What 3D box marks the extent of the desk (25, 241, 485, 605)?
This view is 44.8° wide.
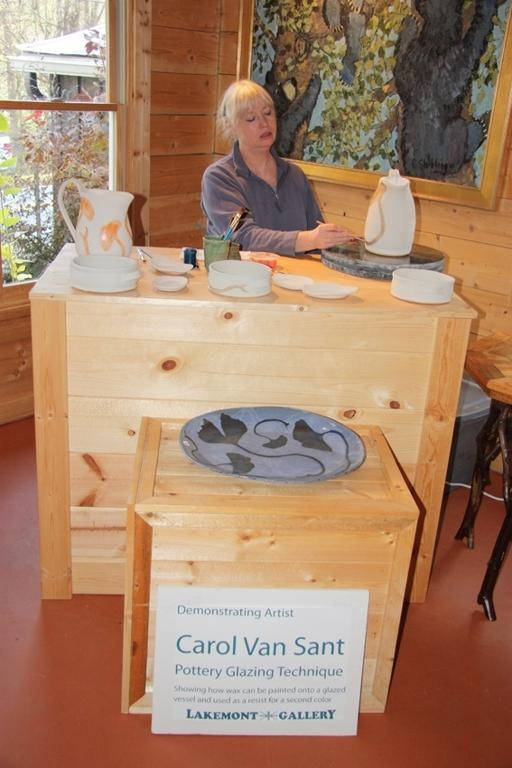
[{"bbox_3d":[-0.051,0.133,1.864,1.149,0.808,0.634,4,9,-4],"label":"desk"}]

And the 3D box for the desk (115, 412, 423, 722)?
[{"bbox_3d":[0.001,0.428,1.512,0.728,0.545,0.536,1,28,-4],"label":"desk"}]

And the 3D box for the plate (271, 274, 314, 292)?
[{"bbox_3d":[0.086,-0.278,1.660,0.073,0.016,0.077,-10,34,-35],"label":"plate"}]

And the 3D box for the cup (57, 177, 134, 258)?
[{"bbox_3d":[-0.424,-0.415,1.556,0.215,0.183,0.124,12,16,28],"label":"cup"}]

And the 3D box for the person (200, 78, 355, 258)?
[{"bbox_3d":[0.080,-0.804,2.449,0.531,0.749,0.515,-9,24,-10],"label":"person"}]

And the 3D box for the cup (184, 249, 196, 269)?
[{"bbox_3d":[-0.190,-0.357,1.764,0.040,0.065,0.066,1,26,0],"label":"cup"}]

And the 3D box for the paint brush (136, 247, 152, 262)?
[{"bbox_3d":[-0.336,-0.391,1.839,0.039,0.006,0.127,18,18,-28],"label":"paint brush"}]

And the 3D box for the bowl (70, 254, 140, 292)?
[{"bbox_3d":[-0.359,-0.279,1.448,0.136,0.043,0.106,19,26,38],"label":"bowl"}]

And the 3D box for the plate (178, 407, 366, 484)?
[{"bbox_3d":[0.018,0.129,1.308,0.240,0.027,0.179,5,31,-4],"label":"plate"}]

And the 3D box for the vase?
[{"bbox_3d":[-0.417,-0.410,1.570,0.211,0.209,0.137,4,15,2],"label":"vase"}]

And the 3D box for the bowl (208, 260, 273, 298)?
[{"bbox_3d":[-0.044,-0.263,1.554,0.154,0.084,0.162,5,13,-1],"label":"bowl"}]

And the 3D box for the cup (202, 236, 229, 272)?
[{"bbox_3d":[-0.134,-0.352,1.693,0.083,0.088,0.083,4,27,-2],"label":"cup"}]
